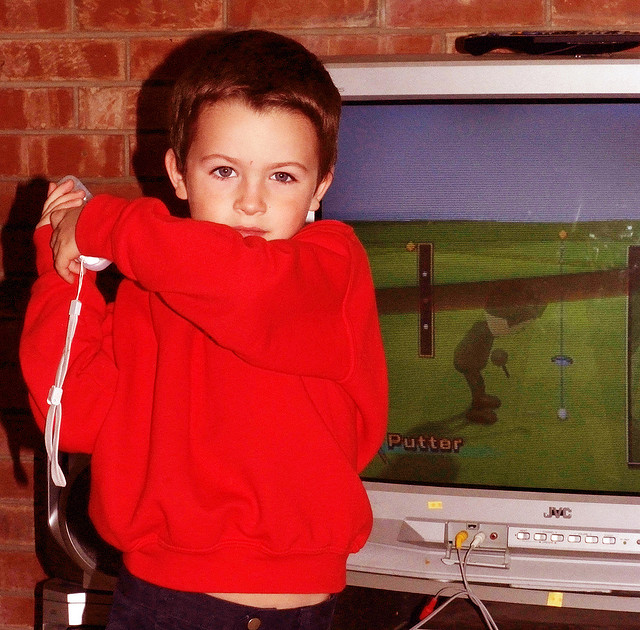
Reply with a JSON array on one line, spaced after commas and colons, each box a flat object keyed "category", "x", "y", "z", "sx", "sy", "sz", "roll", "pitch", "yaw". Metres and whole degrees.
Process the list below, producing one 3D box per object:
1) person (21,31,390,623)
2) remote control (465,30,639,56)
[{"category": "person", "x": -0.147, "y": -0.002, "z": 0.821, "sx": 0.434, "sy": 0.700, "sz": 0.259, "roll": 1, "pitch": 0, "yaw": 9}, {"category": "remote control", "x": 0.379, "y": -0.449, "z": 1.122, "sx": 0.210, "sy": 0.027, "sz": 0.098, "roll": 0, "pitch": 15, "yaw": 5}]
